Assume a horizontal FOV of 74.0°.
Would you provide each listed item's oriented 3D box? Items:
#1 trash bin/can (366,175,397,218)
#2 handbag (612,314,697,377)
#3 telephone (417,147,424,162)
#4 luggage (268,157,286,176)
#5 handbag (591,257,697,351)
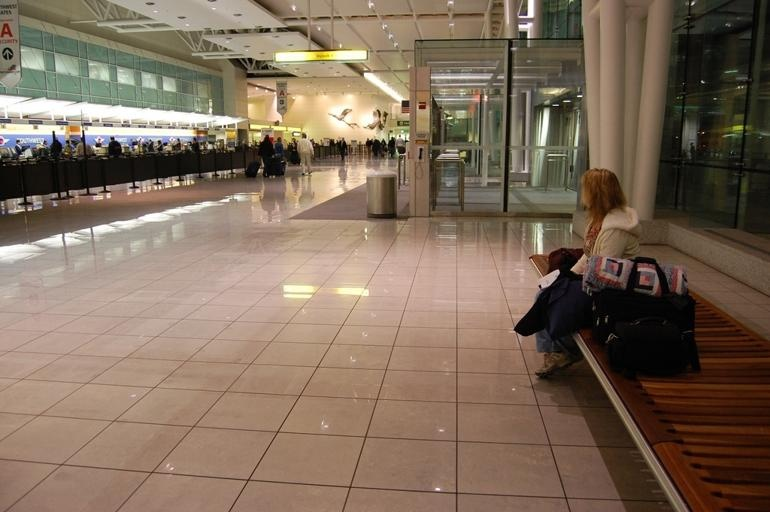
[{"bbox_3d":[-0.052,-1.262,10.776,0.876,0.892,0.815,1,5,6],"label":"trash bin/can"},{"bbox_3d":[1.610,0.537,3.041,0.361,0.231,0.170,1,18,2],"label":"handbag"},{"bbox_3d":[0.758,-2.141,10.643,0.110,0.259,0.051,0,16,3],"label":"telephone"},{"bbox_3d":[-4.608,-4.001,22.294,0.662,0.852,0.714,6,27,1],"label":"luggage"},{"bbox_3d":[1.648,0.249,3.327,0.557,0.493,0.540,1,12,17],"label":"handbag"}]
